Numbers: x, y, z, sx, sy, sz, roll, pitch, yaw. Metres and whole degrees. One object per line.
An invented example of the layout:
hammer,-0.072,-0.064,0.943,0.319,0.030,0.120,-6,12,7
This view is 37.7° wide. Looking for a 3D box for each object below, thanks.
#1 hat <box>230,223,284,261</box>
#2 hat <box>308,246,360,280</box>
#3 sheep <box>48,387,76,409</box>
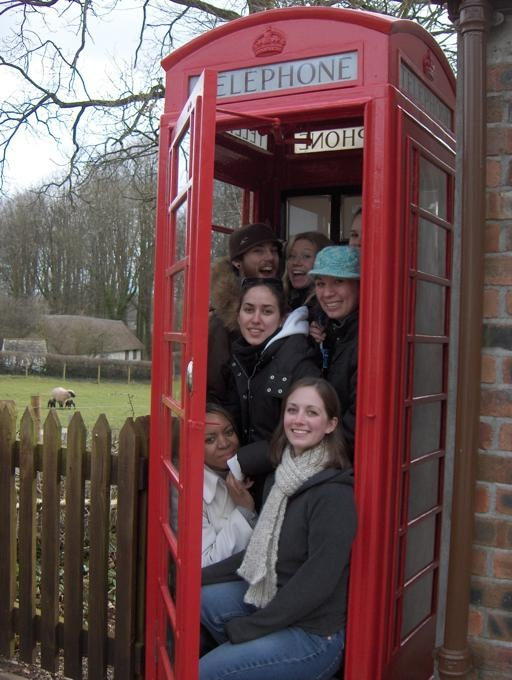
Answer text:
hat,-0.014,-0.447,3.615,0.193,0.117,0.160,-13,-5,3
hat,0.315,-0.307,3.019,0.163,0.089,0.125,10,-9,-43
sheep,-1.812,0.552,7.139,0.296,0.247,0.143,0,3,-9
